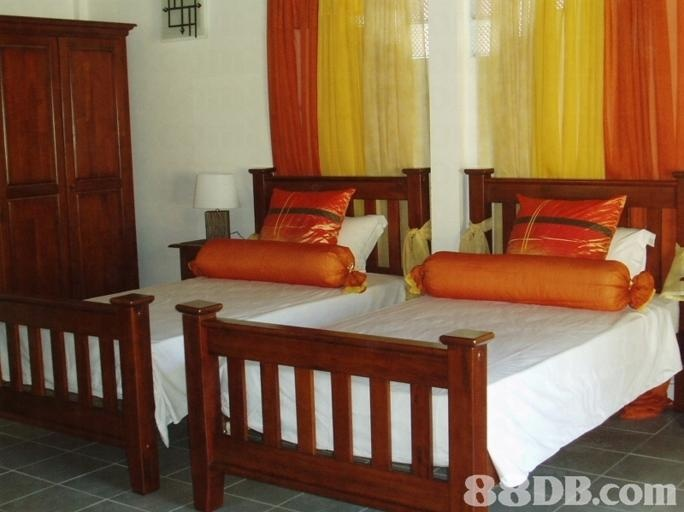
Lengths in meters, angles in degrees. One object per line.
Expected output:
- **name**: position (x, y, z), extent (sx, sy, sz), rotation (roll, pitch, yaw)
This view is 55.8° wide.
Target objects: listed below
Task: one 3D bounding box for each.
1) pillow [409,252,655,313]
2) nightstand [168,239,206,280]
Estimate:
- **pillow**: position (0.946, 0.122, 3.279), extent (1.131, 0.242, 0.161), rotation (3, 11, 26)
- **nightstand**: position (-1.102, 0.013, 4.736), extent (0.311, 0.295, 0.315), rotation (0, 6, -5)
